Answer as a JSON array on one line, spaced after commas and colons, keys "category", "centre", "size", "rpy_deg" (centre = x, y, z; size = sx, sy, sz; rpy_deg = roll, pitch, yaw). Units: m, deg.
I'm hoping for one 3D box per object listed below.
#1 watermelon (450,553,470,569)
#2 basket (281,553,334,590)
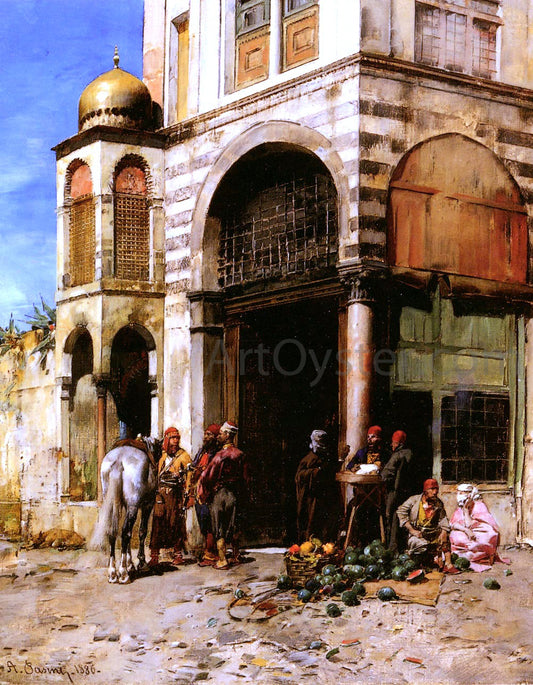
[{"category": "watermelon", "centre": [2.010, 2.306, 10.914], "size": [0.128, 0.101, 0.181], "rpy_deg": [15, -8, 4]}, {"category": "basket", "centre": [0.365, 2.408, 11.127], "size": [0.597, 0.351, 0.602], "rpy_deg": [-1, 1, -33]}]
